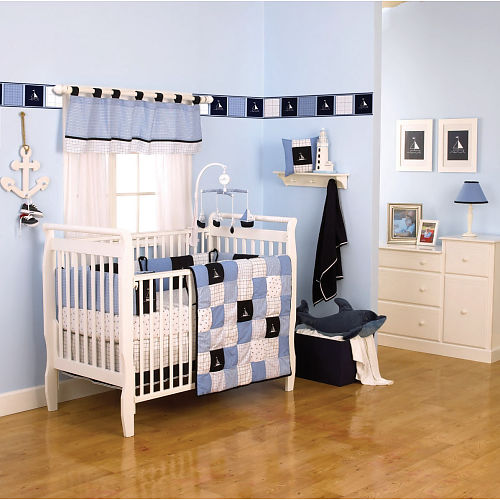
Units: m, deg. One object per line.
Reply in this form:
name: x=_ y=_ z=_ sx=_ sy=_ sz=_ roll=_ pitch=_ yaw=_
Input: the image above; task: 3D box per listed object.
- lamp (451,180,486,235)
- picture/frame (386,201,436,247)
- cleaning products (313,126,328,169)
lamp: x=1.811 y=-0.363 z=4.370 sx=0.257 sy=0.482 sz=0.448 roll=0 pitch=1 yaw=23
picture/frame: x=1.403 y=-0.216 z=4.651 sx=0.325 sy=0.341 sz=0.038 roll=2 pitch=-6 yaw=3
cleaning products: x=0.535 y=-0.761 z=3.943 sx=0.109 sy=0.328 sz=0.111 roll=-1 pitch=10 yaw=-13
